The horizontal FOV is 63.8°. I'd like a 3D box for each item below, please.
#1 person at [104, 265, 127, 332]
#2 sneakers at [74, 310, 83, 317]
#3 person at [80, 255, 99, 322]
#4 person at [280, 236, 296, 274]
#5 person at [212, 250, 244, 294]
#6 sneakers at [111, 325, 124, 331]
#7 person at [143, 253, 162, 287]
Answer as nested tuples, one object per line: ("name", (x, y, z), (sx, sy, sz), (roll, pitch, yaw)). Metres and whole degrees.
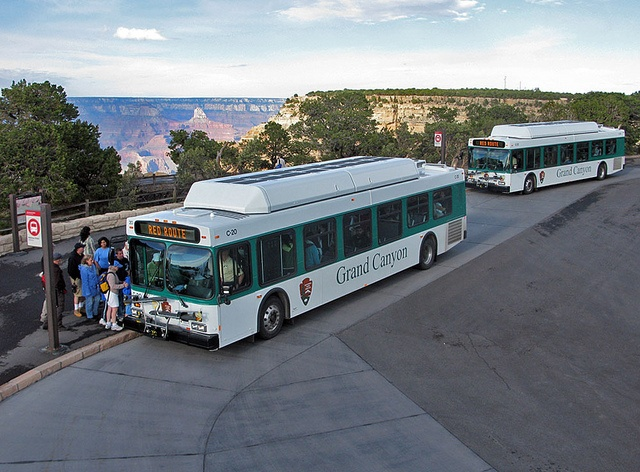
("person", (-5.093, 1.571, 12.781), (0.669, 1.658, 0.391), (-7, 14, -14))
("sneakers", (-6.452, 2.078, 13.764), (0.233, 0.110, 0.105), (4, 9, 40))
("person", (-5.928, 1.348, 13.338), (0.476, 1.775, 0.432), (-8, 14, -18))
("person", (-0.771, 0.452, 12.601), (0.127, 0.986, 0.504), (4, 16, 31))
("person", (-1.888, 0.732, 11.372), (0.205, 1.045, 0.922), (4, 16, 31))
("sneakers", (-5.067, 2.298, 12.847), (0.315, 0.160, 0.117), (2, 8, -5))
("person", (-3.746, 0.774, 11.657), (0.525, 0.788, 0.185), (4, 16, 31))
